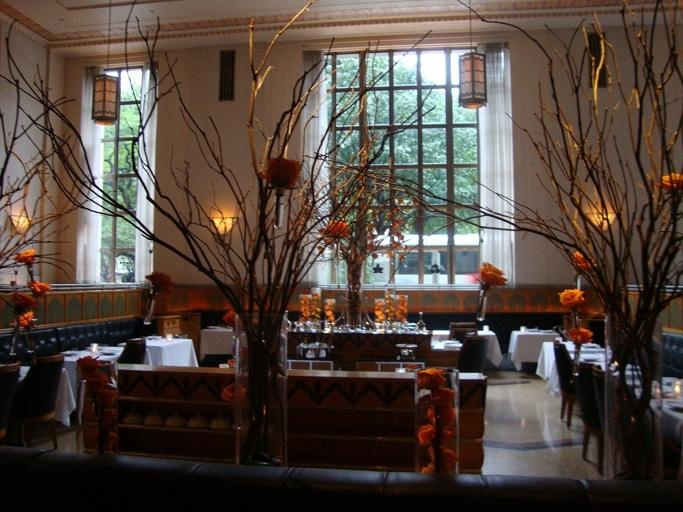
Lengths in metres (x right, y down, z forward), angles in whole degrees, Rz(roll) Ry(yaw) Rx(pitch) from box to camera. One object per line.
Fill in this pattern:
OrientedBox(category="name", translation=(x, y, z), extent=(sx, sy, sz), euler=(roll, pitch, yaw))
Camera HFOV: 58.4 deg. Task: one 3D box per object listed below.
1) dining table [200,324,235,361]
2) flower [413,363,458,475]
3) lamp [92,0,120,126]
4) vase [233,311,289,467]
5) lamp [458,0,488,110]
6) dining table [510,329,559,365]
OrientedBox(category="dining table", translation=(-1.791, 1.270, 9.012), extent=(0.628, 0.515, 0.433), euler=(1, 3, 23))
OrientedBox(category="flower", translation=(0.382, 0.659, 2.436), extent=(0.153, 0.394, 0.072), euler=(0, 2, 3))
OrientedBox(category="lamp", translation=(-3.683, -2.959, 9.494), extent=(0.363, 1.924, 1.101), euler=(-1, 2, -21))
OrientedBox(category="vase", translation=(-0.324, 0.532, 2.410), extent=(0.204, 0.575, 0.082), euler=(0, 2, -5))
OrientedBox(category="lamp", translation=(1.896, -2.929, 8.834), extent=(0.371, 1.688, 1.110), euler=(1, 2, 11))
OrientedBox(category="dining table", translation=(2.584, 1.198, 8.288), extent=(0.465, 0.289, 0.494), euler=(0, -1, 10))
